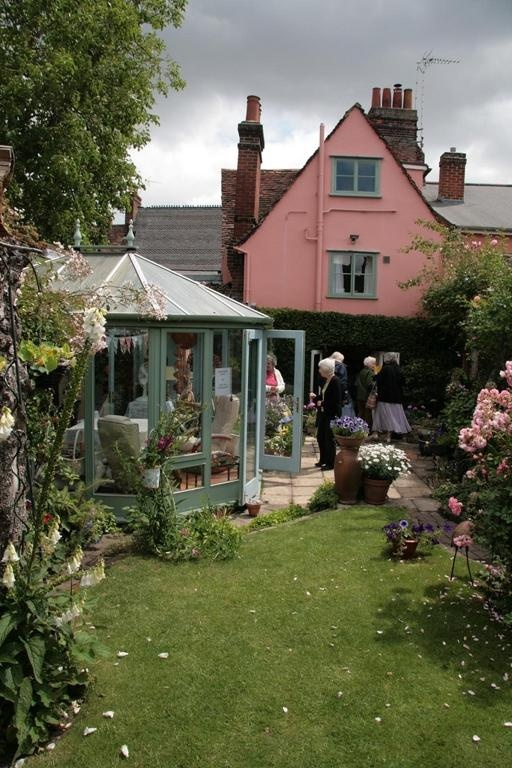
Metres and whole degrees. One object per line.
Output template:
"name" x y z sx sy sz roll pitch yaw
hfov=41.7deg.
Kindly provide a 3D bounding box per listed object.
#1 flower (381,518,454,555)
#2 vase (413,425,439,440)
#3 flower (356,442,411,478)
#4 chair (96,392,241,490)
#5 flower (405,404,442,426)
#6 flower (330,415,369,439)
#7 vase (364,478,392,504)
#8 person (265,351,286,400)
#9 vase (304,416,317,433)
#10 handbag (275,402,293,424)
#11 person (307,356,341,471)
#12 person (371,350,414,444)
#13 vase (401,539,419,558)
"flower" 1.487 1.490 6.599 0.463 0.271 0.515 4 -9 -9
"vase" 3.110 0.888 12.299 0.374 0.188 0.473 0 -3 3
"flower" 1.602 0.933 8.097 0.465 0.293 0.459 13 17 40
"chair" -0.831 0.660 7.323 0.802 0.827 1.348 6 13 39
"flower" 3.530 0.702 14.245 0.495 0.342 0.622 3 4 -11
"flower" 1.107 0.496 7.913 0.287 0.202 0.299 0 2 8
"vase" 1.502 1.315 8.197 0.324 0.266 0.327 3 -3 0
"person" 0.308 -0.140 10.370 0.291 0.683 0.721 3 8 2
"vase" 1.103 0.863 13.859 0.322 0.405 0.304 3 -4 -39
"handbag" 0.454 0.456 10.074 0.184 0.267 0.252 -2 10 26
"person" 1.103 0.517 10.233 0.397 1.808 0.824 3 8 5
"person" 2.409 0.276 11.991 0.658 1.610 0.628 6 8 24
"vase" 1.466 1.588 6.407 0.175 0.135 0.176 0 -4 -5
